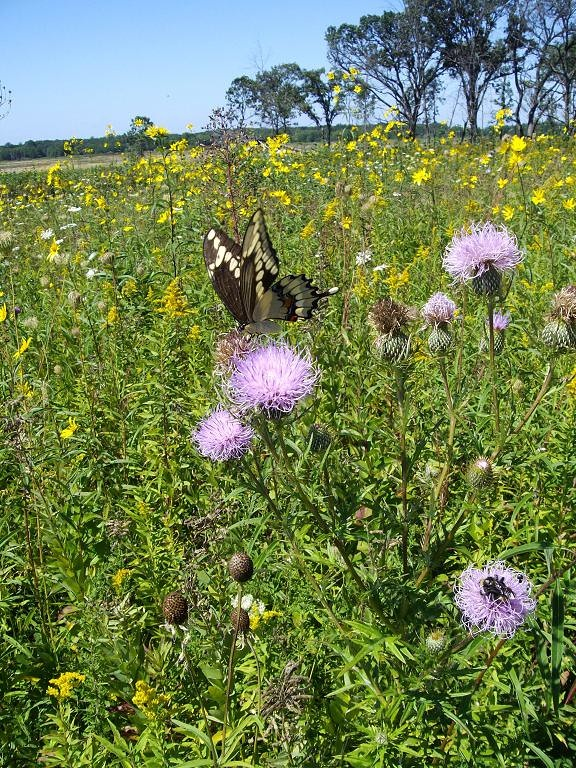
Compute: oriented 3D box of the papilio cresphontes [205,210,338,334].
[{"bbox_3d":[-0.128,-0.530,3.620,0.740,0.588,0.732,7,-4,-3],"label":"papilio cresphontes"}]
